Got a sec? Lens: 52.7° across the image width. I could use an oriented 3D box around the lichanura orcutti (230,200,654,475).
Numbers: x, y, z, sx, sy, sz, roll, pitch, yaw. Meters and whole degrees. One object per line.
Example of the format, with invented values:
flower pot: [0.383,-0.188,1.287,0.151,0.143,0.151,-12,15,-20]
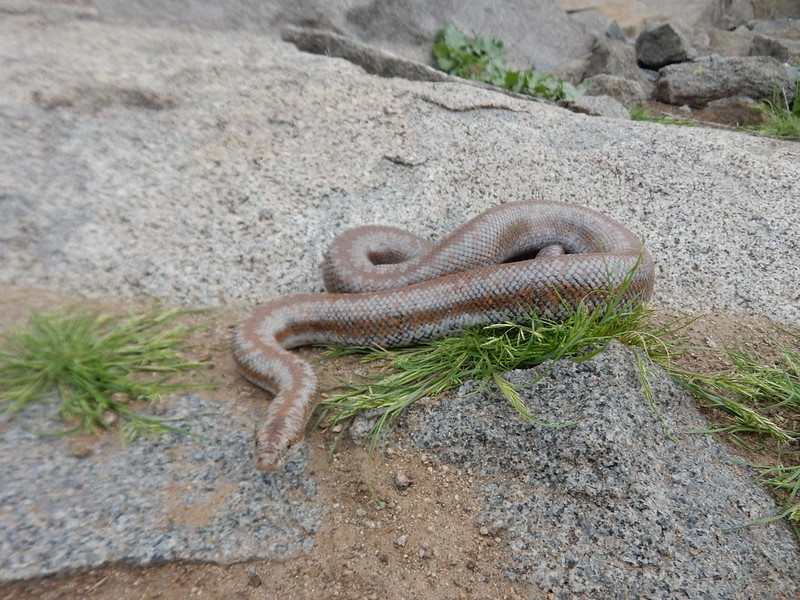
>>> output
lichanura orcutti: [0.315,-0.075,7.760,3.552,0.727,2.230,-15,30,-15]
